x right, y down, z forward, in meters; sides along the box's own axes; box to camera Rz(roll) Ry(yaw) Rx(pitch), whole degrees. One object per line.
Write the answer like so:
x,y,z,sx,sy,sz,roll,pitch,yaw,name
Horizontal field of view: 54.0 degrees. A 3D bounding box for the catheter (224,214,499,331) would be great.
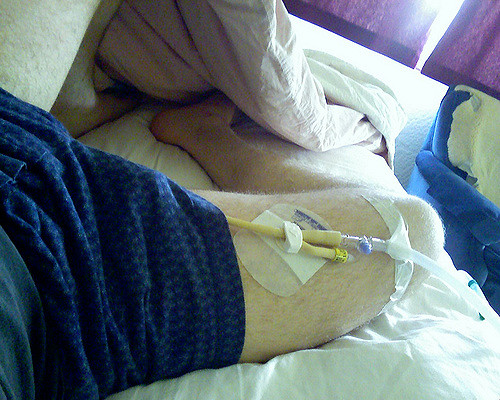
0.262,0.183,1.205,0.515,0.084,0.154,23,57,-9,catheter
